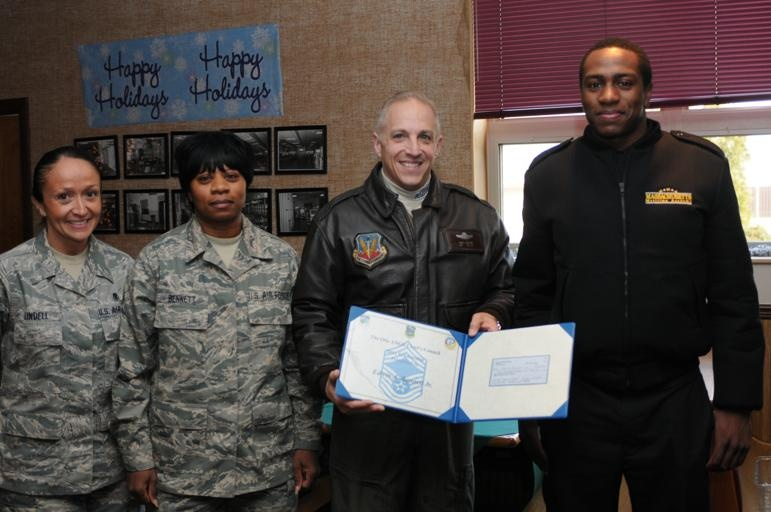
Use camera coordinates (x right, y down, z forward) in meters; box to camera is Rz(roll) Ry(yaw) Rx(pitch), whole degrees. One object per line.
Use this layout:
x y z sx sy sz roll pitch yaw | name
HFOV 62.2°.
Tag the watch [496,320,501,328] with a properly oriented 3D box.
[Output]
0.374 0.226 2.104 0.007 0.024 0.019 -34 -19 25 | watch
